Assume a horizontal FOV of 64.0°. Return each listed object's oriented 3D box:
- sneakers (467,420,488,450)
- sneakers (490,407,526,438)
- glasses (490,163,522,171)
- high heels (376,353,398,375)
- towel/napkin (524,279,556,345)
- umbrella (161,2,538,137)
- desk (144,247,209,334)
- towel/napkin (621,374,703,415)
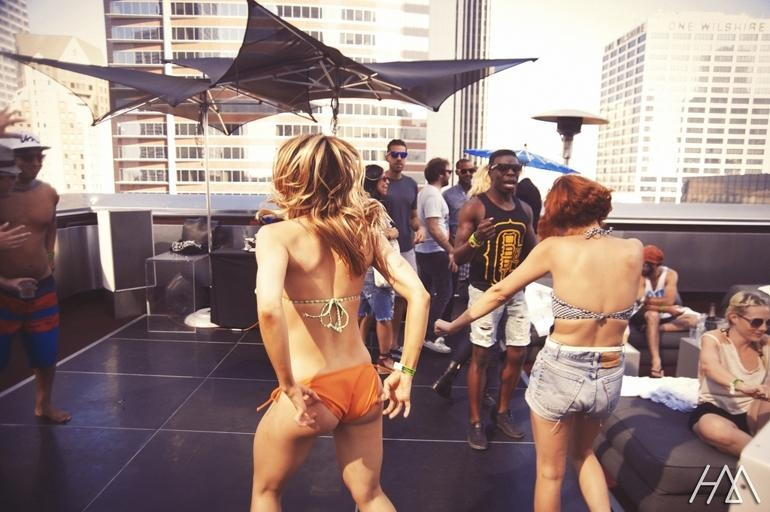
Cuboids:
[{"bbox_3d":[0.972,1.907,6.510,0.142,0.122,0.304,-1,10,-6],"label":"sneakers"},{"bbox_3d":[1.338,1.825,6.704,0.149,0.161,0.394,-6,8,-26],"label":"sneakers"},{"bbox_3d":[1.274,-0.913,6.401,0.299,0.077,0.131,1,9,-2],"label":"glasses"},{"bbox_3d":[0.016,1.332,7.354,0.202,0.237,0.599,1,5,6],"label":"high heels"},{"bbox_3d":[2.012,0.654,7.863,0.505,0.818,0.172,2,-31,1],"label":"towel/napkin"},{"bbox_3d":[-0.342,-2.293,7.726,2.694,0.786,2.364,2,3,4],"label":"umbrella"},{"bbox_3d":[-2.967,0.523,9.156,1.036,1.523,1.043,0,0,-19],"label":"desk"},{"bbox_3d":[2.857,1.385,6.287,0.700,0.152,0.419,3,24,31],"label":"towel/napkin"}]
